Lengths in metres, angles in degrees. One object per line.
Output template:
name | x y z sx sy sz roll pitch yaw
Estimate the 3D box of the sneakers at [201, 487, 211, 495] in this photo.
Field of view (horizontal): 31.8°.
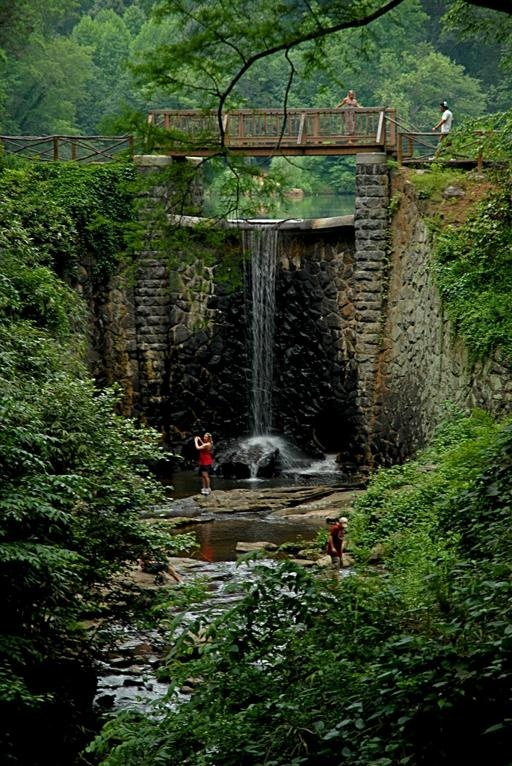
sneakers | -0.833 1.817 15.022 0.103 0.101 0.261 1 -8 -7
